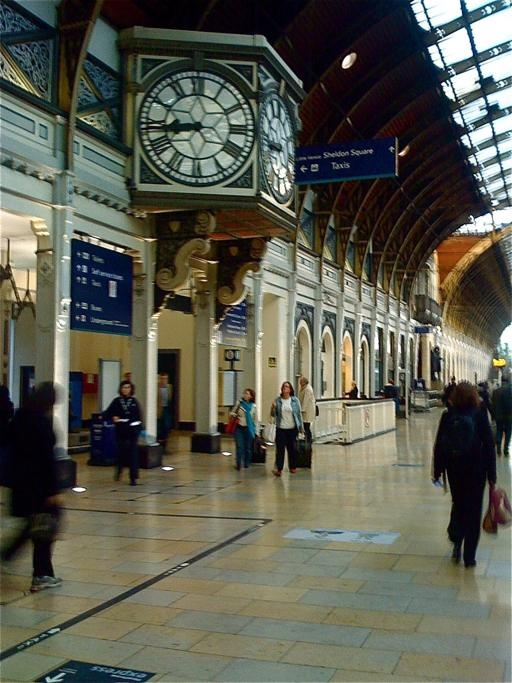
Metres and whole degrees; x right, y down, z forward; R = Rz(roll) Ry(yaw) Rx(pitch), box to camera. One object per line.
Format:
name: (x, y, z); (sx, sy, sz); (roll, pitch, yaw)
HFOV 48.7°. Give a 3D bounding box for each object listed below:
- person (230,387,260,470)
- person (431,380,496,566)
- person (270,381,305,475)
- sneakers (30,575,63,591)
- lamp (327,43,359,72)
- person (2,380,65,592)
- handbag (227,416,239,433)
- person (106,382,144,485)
person: (-0.277, 1.906, 12.163); (0.483, 1.683, 0.842); (-1, -7, -3)
person: (1.883, 1.171, 5.129); (0.555, 1.618, 0.741); (-3, -7, 16)
person: (0.625, 1.775, 11.632); (0.630, 1.885, 0.843); (-2, -7, 2)
sneakers: (-1.557, 1.792, 4.197); (0.199, 0.093, 0.085); (-1, -1, -10)
lamp: (2.985, -9.048, 18.308); (0.782, 0.188, 0.788); (-28, -26, -6)
person: (-1.621, 1.059, 4.102); (0.414, 1.515, 0.468); (1, -7, -19)
handbag: (-0.497, 1.768, 12.010); (0.217, 0.360, 0.410); (-1, -7, -6)
person: (-2.383, 1.621, 10.219); (0.626, 1.868, 0.687); (0, -7, -14)
